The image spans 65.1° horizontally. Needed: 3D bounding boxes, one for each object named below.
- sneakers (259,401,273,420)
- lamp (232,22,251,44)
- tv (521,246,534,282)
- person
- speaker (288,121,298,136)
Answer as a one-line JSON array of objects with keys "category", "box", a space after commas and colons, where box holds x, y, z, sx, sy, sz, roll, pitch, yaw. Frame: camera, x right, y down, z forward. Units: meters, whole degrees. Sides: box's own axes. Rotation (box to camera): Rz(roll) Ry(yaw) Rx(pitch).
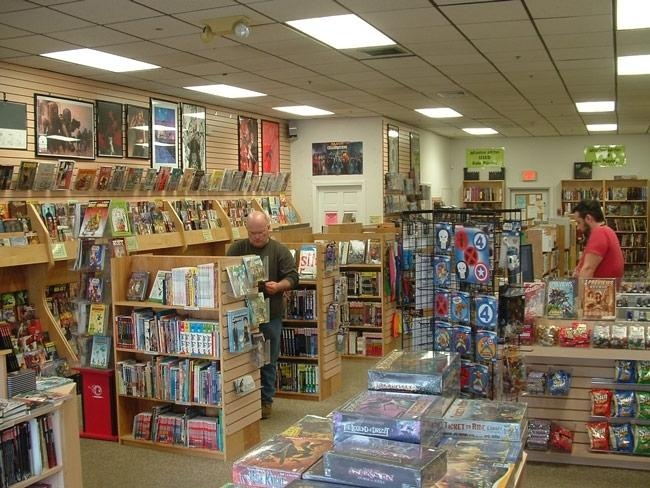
[{"category": "sneakers", "box": [-0.635, 1.898, 5.847, 0.125, 0.213, 0.207, 0, -8, 0]}, {"category": "lamp", "box": [-0.954, -2.346, 5.689, 0.215, 0.262, 0.234, 1, 1, 9]}, {"category": "tv", "box": [2.476, 0.245, 6.240, 0.039, 0.617, 0.494, -1, 2, 29]}, {"category": "person", "box": [2.977, -0.063, 5.522, 0.465, 0.822, 1.327, 1, 5, 27]}, {"category": "speaker", "box": [-0.789, -2.854, 12.750, 0.243, 0.393, 0.112, -1, 4, -2]}]
